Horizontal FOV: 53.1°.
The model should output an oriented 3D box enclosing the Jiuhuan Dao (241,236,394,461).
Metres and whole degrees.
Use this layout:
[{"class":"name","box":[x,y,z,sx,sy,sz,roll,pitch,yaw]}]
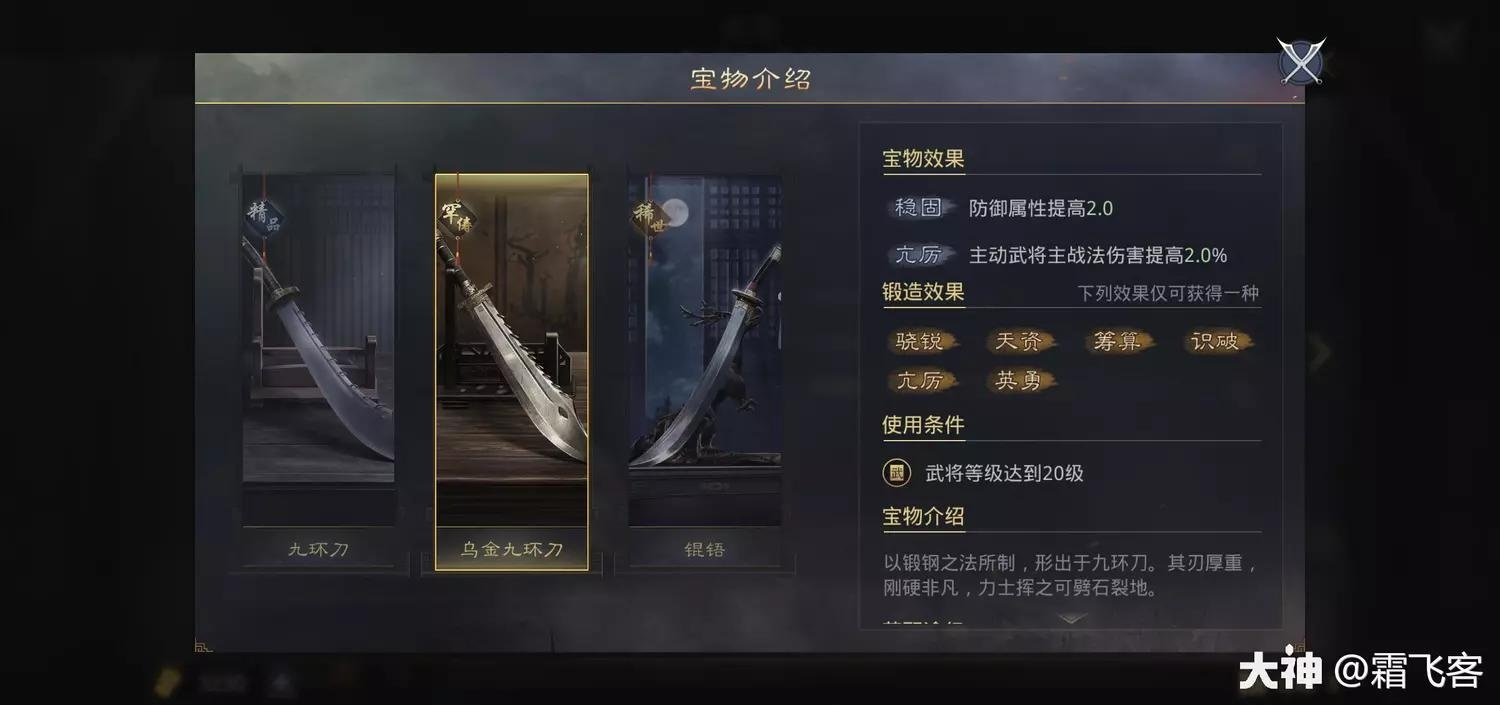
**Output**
[{"class":"Jiuhuan Dao","box":[-2.520,-0.072,8.748,0.361,1.624,0.146,-40,4,3]}]
